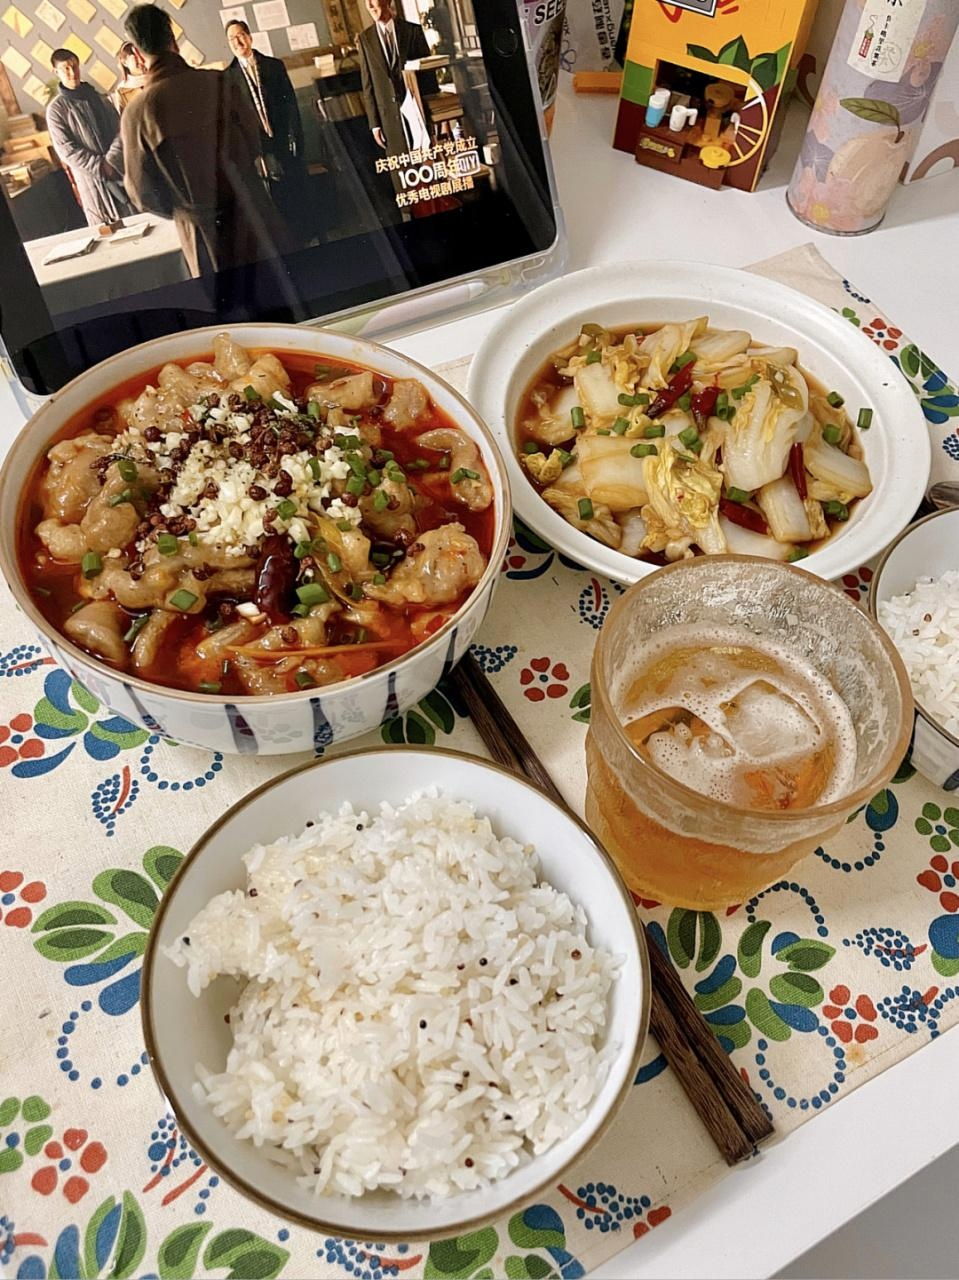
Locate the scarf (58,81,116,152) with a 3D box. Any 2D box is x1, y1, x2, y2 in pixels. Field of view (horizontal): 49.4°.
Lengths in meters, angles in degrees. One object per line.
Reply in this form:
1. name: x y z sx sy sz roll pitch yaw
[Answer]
1. scarf: -0.639 -0.860 1.716 0.082 0.092 0.064 -21 55 -14
